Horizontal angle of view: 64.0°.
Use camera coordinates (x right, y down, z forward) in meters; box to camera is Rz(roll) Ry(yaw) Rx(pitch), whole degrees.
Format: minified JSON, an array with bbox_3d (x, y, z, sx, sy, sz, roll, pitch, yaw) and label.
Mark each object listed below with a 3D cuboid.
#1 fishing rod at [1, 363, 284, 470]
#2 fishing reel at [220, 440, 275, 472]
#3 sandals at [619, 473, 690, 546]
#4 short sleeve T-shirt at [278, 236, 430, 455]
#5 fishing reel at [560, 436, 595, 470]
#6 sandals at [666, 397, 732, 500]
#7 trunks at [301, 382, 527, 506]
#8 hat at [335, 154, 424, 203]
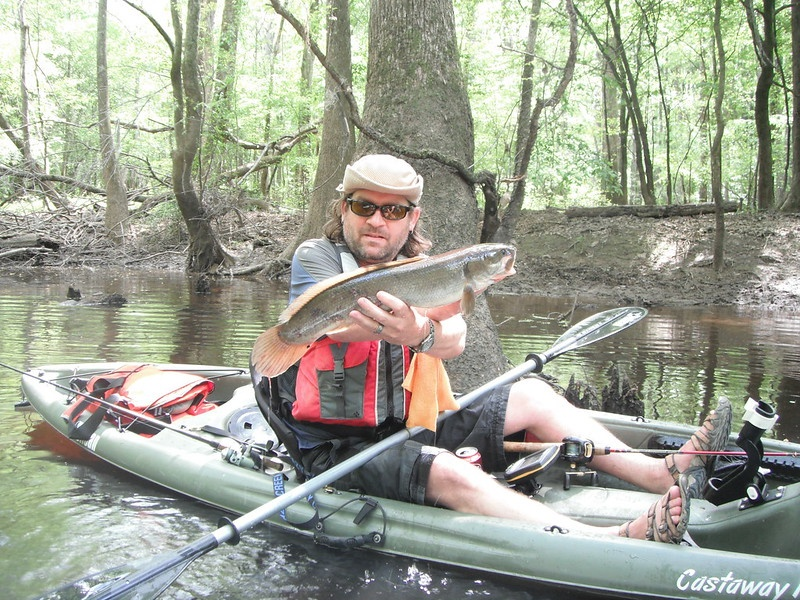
[{"bbox_3d":[-1.816,0.838,4.511,2.113,0.316,0.316,14,49,27],"label":"fishing rod"},{"bbox_3d":[-0.919,0.961,3.945,0.269,0.072,0.148,14,0,8],"label":"fishing reel"},{"bbox_3d":[1.344,1.055,3.190,0.127,0.400,0.228,3,40,-26],"label":"sandals"},{"bbox_3d":[-0.334,0.279,3.518,0.892,0.957,0.548,12,-34,-29],"label":"short sleeve T-shirt"},{"bbox_3d":[1.039,0.885,3.745,0.214,0.159,0.164,3,-1,14],"label":"fishing reel"},{"bbox_3d":[1.770,0.890,3.797,0.276,0.565,0.185,13,24,-36],"label":"sandals"},{"bbox_3d":[0.072,0.838,3.680,0.992,0.278,0.605,-9,-3,16],"label":"trunks"},{"bbox_3d":[-0.090,-0.642,3.406,0.364,0.127,0.288,8,-3,14],"label":"hat"}]
